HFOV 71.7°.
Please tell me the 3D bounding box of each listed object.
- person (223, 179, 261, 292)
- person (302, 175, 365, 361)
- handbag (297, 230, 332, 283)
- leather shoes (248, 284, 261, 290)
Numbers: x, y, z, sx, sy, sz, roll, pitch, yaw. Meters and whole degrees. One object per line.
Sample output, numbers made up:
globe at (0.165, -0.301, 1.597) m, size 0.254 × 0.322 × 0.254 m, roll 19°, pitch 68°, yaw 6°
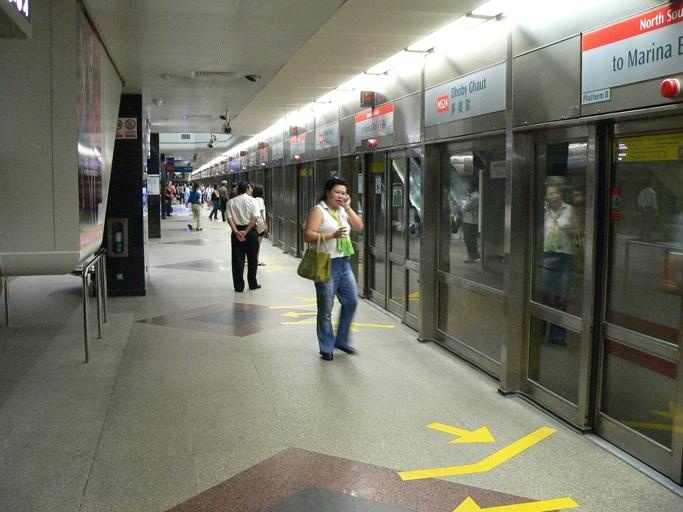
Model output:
person at (-1.874, -0.380, 9.130) m, size 0.613 × 2.064 × 0.748 m, roll -1°, pitch 6°, yaw -11°
person at (-0.066, 0.143, 5.403) m, size 0.441 × 2.045 × 0.705 m, roll 5°, pitch 8°, yaw 39°
handbag at (-0.290, 0.045, 5.186) m, size 0.342 × 0.537 × 0.233 m, roll 1°, pitch 6°, yaw 7°
leather shoes at (-1.693, 0.602, 9.326) m, size 0.251 × 0.158 × 0.082 m, roll -12°, pitch 14°, yaw -43°
